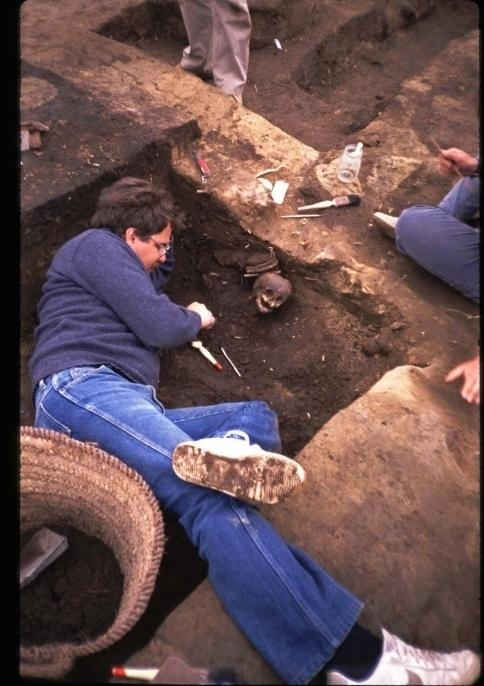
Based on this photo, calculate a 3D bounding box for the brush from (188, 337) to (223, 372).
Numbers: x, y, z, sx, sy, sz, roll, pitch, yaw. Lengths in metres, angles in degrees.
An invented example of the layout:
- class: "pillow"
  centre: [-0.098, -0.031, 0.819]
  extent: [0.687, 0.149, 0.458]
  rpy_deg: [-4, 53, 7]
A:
- class: "brush"
  centre: [-0.226, 0.044, 4.165]
  extent: [0.270, 0.030, 0.091]
  rpy_deg: [45, 48, 16]

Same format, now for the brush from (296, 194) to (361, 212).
- class: "brush"
  centre: [0.517, -0.815, 4.230]
  extent: [0.304, 0.035, 0.068]
  rpy_deg: [-9, 23, -1]

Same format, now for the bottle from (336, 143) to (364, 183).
- class: "bottle"
  centre: [0.648, -1.067, 4.328]
  extent: [0.151, 0.251, 0.150]
  rpy_deg: [-1, 58, 1]

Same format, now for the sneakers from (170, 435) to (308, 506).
- class: "sneakers"
  centre: [-0.012, 0.468, 2.984]
  extent: [0.575, 0.232, 0.271]
  rpy_deg: [14, 6, 9]

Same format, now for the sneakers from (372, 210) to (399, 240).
- class: "sneakers"
  centre: [0.803, -0.659, 4.063]
  extent: [0.065, 0.098, 0.175]
  rpy_deg: [-38, 44, -13]

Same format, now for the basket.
- class: "basket"
  centre: [-0.600, 0.920, 3.111]
  extent: [0.872, 0.657, 0.901]
  rpy_deg: [3, 58, -3]
